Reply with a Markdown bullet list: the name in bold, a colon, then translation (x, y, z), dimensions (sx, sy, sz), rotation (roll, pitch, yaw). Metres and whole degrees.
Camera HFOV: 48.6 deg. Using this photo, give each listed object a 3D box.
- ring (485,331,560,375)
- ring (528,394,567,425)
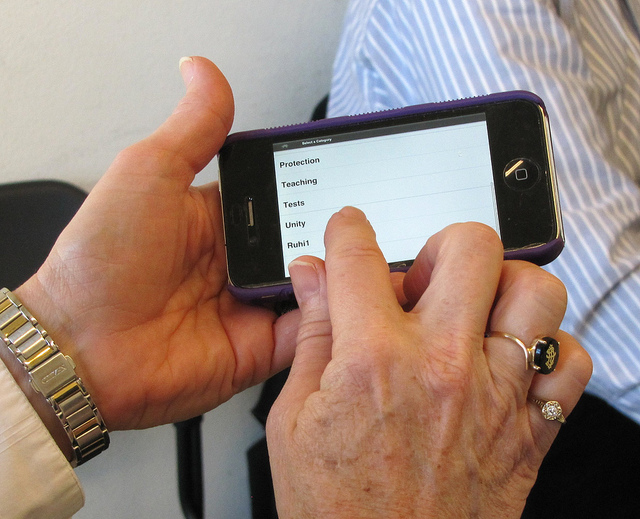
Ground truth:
- **ring**: translation (0.345, 0.153, 1.116), dimensions (0.061, 0.038, 0.067), rotation (-2, 85, 23)
- **ring**: translation (0.373, 0.240, 1.164), dimensions (0.069, 0.018, 0.024), rotation (41, 102, 32)
